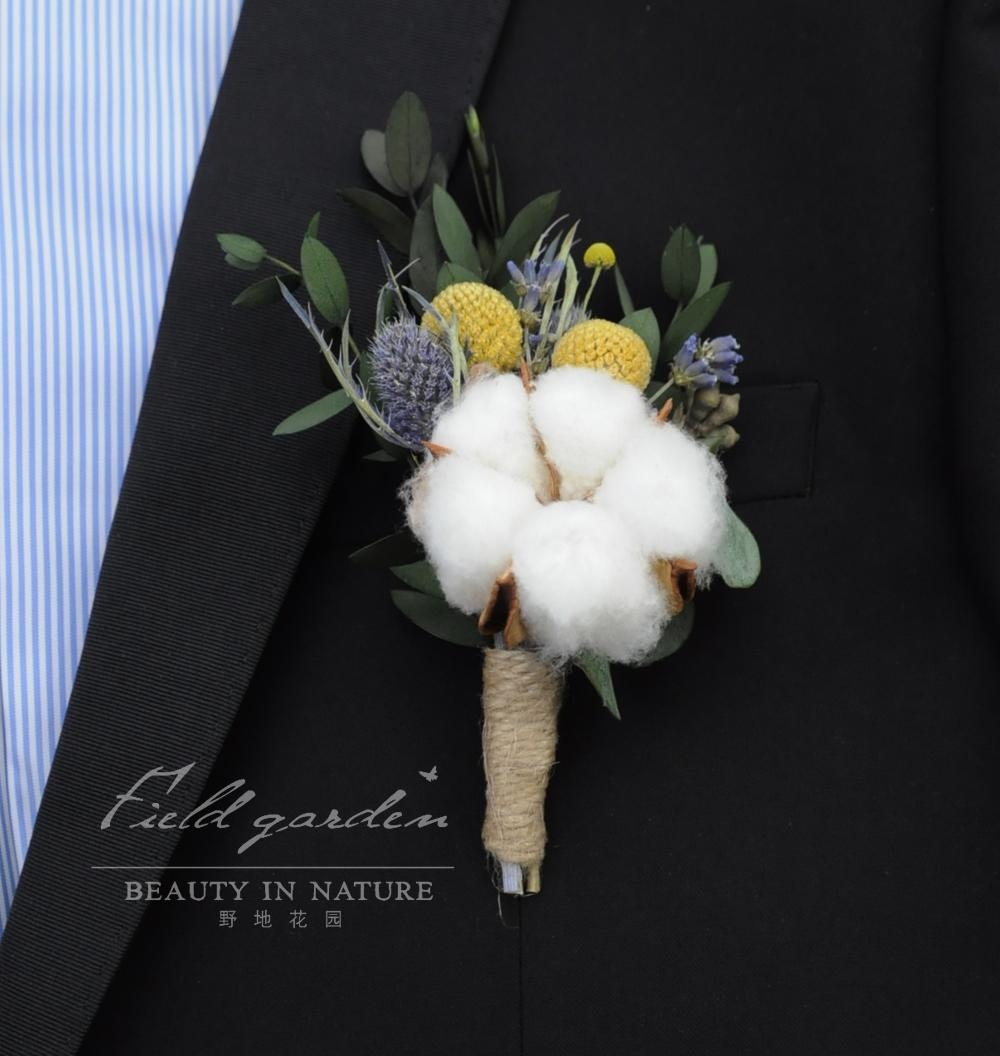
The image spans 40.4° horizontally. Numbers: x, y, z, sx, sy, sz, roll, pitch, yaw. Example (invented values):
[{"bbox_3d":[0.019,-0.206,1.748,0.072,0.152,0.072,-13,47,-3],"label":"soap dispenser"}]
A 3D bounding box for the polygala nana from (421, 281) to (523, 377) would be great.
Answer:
[{"bbox_3d":[-0.021,-0.167,1.127,0.075,0.075,0.071,3,38,0],"label":"polygala nana"}]

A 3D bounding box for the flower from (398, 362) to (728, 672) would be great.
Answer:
[{"bbox_3d":[0.050,-0.007,1.128,0.266,0.186,0.203,1,57,6],"label":"flower"}]

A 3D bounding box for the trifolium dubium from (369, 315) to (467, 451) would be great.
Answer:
[{"bbox_3d":[-0.070,-0.125,1.159,0.088,0.080,0.097,-15,102,-1],"label":"trifolium dubium"}]

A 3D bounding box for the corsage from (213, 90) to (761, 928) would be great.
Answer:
[{"bbox_3d":[-0.029,0.020,1.250,0.536,0.628,0.467,-34,56,-22],"label":"corsage"}]
